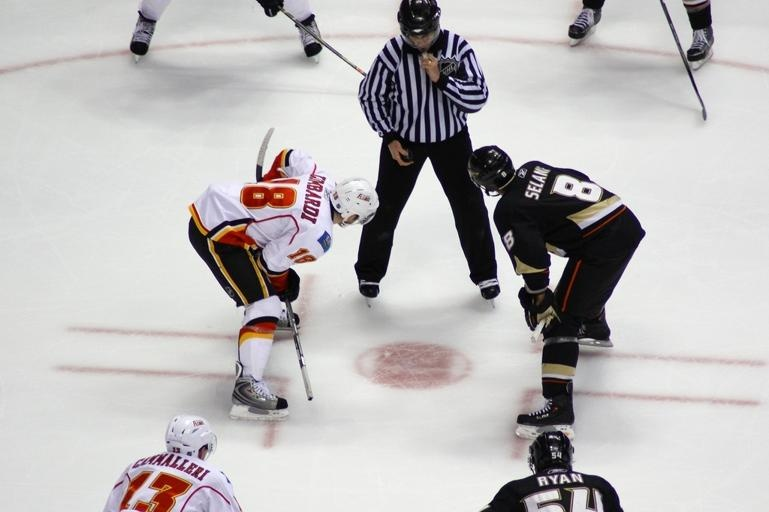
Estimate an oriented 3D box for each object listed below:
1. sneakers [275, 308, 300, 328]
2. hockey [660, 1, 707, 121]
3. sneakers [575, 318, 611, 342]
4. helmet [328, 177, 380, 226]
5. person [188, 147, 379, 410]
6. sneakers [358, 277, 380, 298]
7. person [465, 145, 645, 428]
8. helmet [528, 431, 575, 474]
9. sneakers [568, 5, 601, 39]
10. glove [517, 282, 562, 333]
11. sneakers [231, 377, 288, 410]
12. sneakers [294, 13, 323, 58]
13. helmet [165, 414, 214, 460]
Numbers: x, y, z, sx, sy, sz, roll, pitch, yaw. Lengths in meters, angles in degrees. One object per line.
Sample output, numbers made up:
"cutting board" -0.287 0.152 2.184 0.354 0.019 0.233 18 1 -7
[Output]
"sneakers" -0.730 0.501 8.167 0.114 0.090 0.191 -11 17 -25
"hockey" 2.811 -1.781 9.825 0.142 1.286 0.196 -14 -8 -7
"sneakers" 1.562 0.549 7.888 0.220 0.071 0.209 0 -10 31
"helmet" -0.228 -0.397 7.788 0.378 0.268 0.348 -2 -29 -31
"person" -0.799 0.128 7.688 1.335 2.001 0.618 1 -21 4
"sneakers" -0.124 0.264 8.430 0.192 0.106 0.182 3 -42 3
"person" 1.236 0.323 7.799 1.129 1.419 1.677 8 -52 29
"helmet" 1.057 1.260 6.698 0.255 0.281 0.245 2 -63 2
"sneakers" 1.951 -2.234 10.290 0.175 0.508 0.203 27 -32 16
"glove" 1.099 0.377 7.644 0.292 0.278 0.318 -15 -40 -18
"sneakers" -0.903 0.972 7.670 0.528 0.167 0.236 5 -68 -7
"sneakers" -0.720 -2.094 10.123 0.165 0.224 0.508 -15 -66 12
"helmet" -1.273 1.154 6.852 0.325 0.246 0.295 14 -61 -25
